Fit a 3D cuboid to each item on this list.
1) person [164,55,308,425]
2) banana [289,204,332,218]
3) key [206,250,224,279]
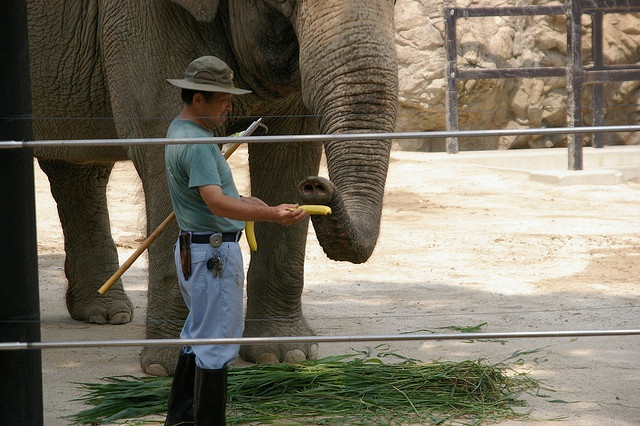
[{"bbox_3d":[-0.632,0.184,7.401,0.832,2.190,0.428,3,3,39],"label":"person"},{"bbox_3d":[-0.080,-0.016,7.142,0.290,0.045,0.065,1,8,28],"label":"banana"},{"bbox_3d":[-0.607,0.299,7.314,0.112,0.117,0.047,-4,-6,3],"label":"key"}]
